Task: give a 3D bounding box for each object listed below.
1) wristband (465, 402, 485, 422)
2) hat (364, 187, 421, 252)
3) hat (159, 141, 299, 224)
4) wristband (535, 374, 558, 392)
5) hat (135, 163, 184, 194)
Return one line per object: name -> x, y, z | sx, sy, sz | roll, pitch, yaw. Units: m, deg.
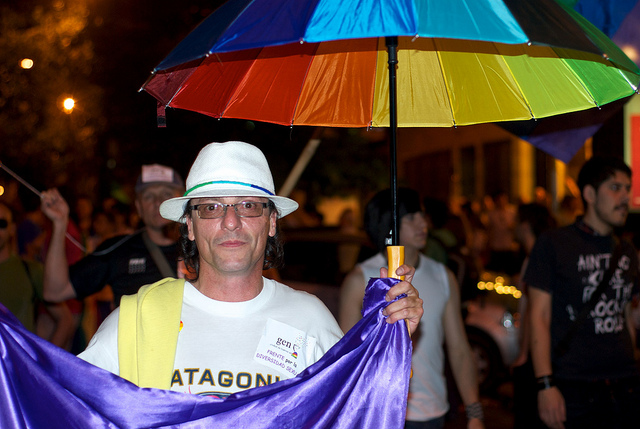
wristband -> 1.298, 1.617, 6.139 | 0.119, 0.166, 0.139 | 0, -20, -3
hat -> 0.650, 0.027, 6.579 | 0.501, 0.609, 0.290 | 4, -6, 1
hat -> -0.563, -0.079, 5.036 | 0.560, 0.364, 0.606 | -9, -18, 33
wristband -> 1.914, 1.382, 6.215 | 0.131, 0.122, 0.146 | -19, -7, 3
hat -> -1.579, -0.355, 7.159 | 0.421, 0.277, 0.671 | -2, -8, -11
